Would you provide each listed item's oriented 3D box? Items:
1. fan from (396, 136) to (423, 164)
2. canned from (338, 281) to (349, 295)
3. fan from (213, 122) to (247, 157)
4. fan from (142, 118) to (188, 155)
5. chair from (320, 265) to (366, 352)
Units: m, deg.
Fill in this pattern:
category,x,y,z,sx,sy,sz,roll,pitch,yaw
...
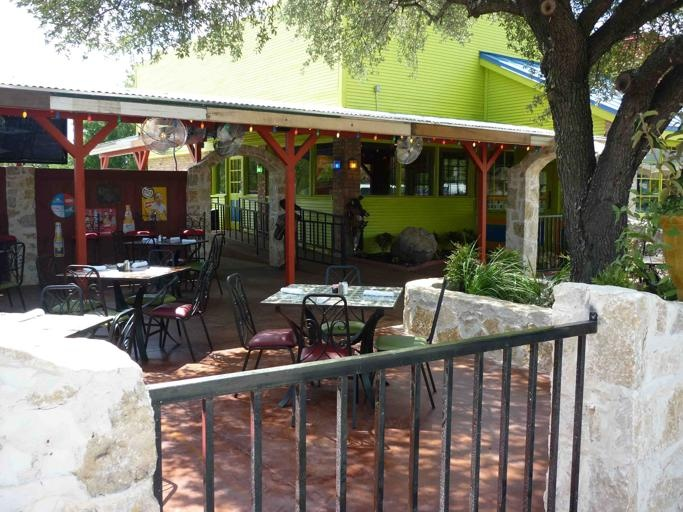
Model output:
category,x,y,z,sx,sy,sz,roll,pitch,yaw
fan,1.106,-1.747,10.107,0.383,0.376,0.412,-5,2,13
canned,0.020,0.302,5.936,0.099,0.205,0.104,-2,9,-6
fan,-1.629,-1.733,9.199,0.450,0.441,0.415,-5,2,-9
fan,-2.285,-1.584,8.086,0.557,0.441,0.380,-6,2,-9
chair,0.085,0.478,8.311,0.643,1.200,0.727,0,4,0
